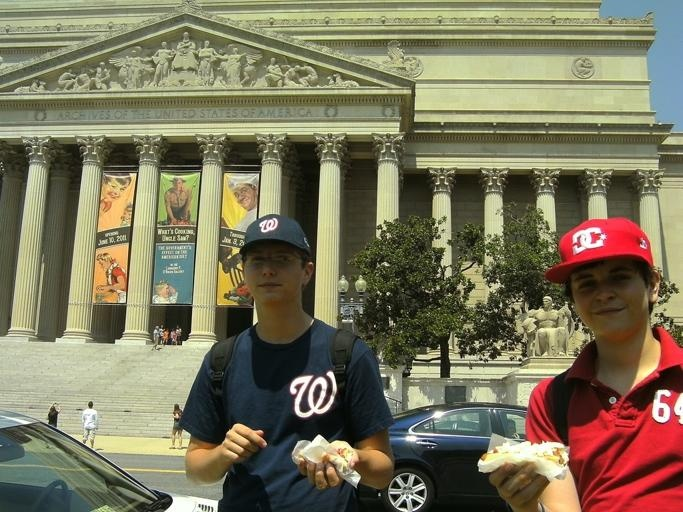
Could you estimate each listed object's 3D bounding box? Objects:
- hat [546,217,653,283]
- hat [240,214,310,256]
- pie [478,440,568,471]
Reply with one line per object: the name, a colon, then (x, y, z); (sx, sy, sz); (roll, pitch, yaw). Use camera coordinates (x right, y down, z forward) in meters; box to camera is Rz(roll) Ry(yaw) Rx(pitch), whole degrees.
hat: (1.400, -0.087, 3.592); (0.500, 0.252, 0.339); (18, -27, -28)
hat: (-0.386, -0.107, 3.900); (0.338, 0.248, 0.134); (5, -2, -37)
pie: (0.899, 0.999, 3.255); (0.418, 0.159, 0.224); (0, -9, 14)
